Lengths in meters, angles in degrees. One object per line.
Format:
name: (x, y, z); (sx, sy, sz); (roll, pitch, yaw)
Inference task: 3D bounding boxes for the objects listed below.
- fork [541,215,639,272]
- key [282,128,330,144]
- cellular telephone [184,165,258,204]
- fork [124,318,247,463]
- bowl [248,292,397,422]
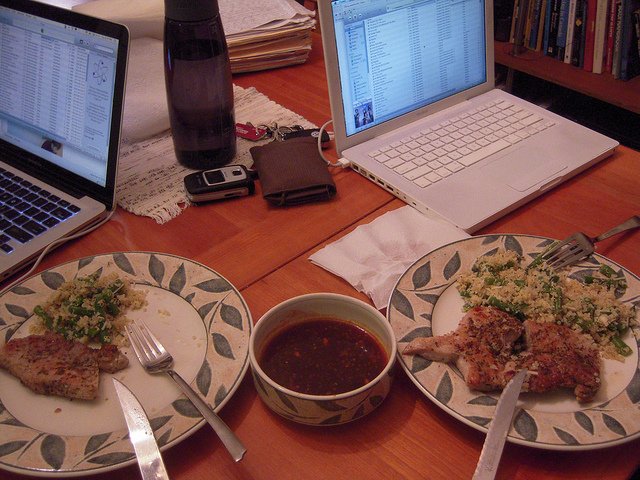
fork: (0.539, 0.013, 1.034); (0.221, 0.018, 0.030); (-24, 61, -24)
key: (-0.037, -0.263, 1.314); (0.090, 0.022, 0.050); (-5, 42, 9)
cellular telephone: (-0.224, -0.133, 1.187); (0.153, 0.041, 0.075); (-14, 47, -18)
fork: (-0.210, 0.246, 0.818); (0.033, 0.029, 0.243); (-28, 62, -38)
bowl: (0.006, 0.181, 0.814); (0.222, 0.093, 0.172); (-6, 42, -1)
